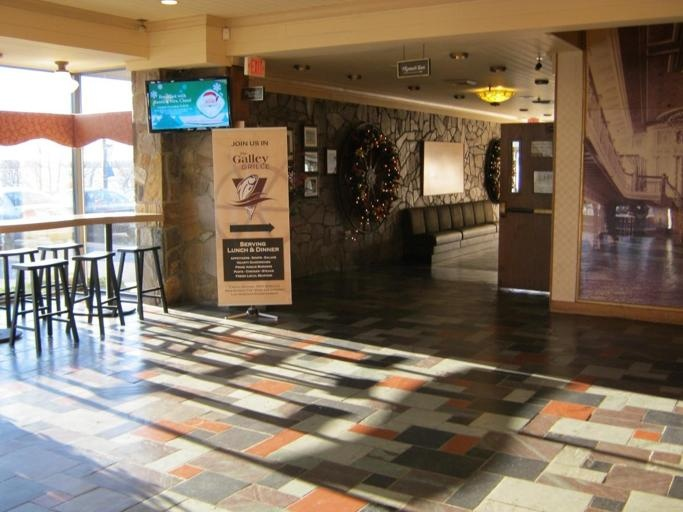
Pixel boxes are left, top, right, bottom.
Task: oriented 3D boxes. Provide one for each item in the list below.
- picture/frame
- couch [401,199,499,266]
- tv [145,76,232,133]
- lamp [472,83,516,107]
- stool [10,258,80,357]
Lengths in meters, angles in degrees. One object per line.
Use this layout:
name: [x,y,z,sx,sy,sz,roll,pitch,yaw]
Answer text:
picture/frame: [-0.518,-1.652,9.050,0.345,1.267,1.230,4,12,23]
couch: [2.527,-0.646,11.979,1.077,1.053,3.979,7,12,37]
tv: [-1.896,-1.924,6.487,1.300,0.522,0.115,1,11,15]
lamp: [2.961,-3.122,9.957,0.792,0.209,0.663,2,9,9]
stool: [-3.220,0.490,5.483,0.655,0.899,0.933,-7,12,-27]
